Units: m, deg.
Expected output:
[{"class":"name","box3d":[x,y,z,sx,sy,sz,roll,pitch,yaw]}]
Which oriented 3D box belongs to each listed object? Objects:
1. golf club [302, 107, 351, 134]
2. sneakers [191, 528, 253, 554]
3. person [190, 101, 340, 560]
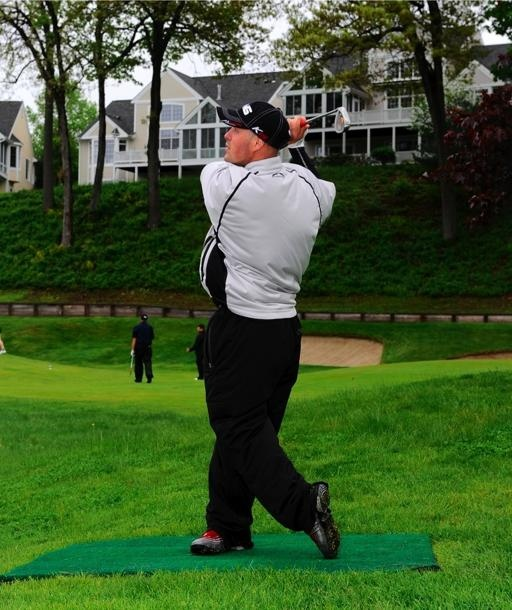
[{"class":"golf club","box3d":[0.504,-1.354,7.849,0.360,0.139,0.217,-8,-19,11]},{"class":"sneakers","box3d":[-0.209,1.660,7.507,0.423,0.182,0.145,10,-25,-17]},{"class":"person","box3d":[-0.006,0.167,7.370,1.034,3.118,0.719,-4,3,0]}]
